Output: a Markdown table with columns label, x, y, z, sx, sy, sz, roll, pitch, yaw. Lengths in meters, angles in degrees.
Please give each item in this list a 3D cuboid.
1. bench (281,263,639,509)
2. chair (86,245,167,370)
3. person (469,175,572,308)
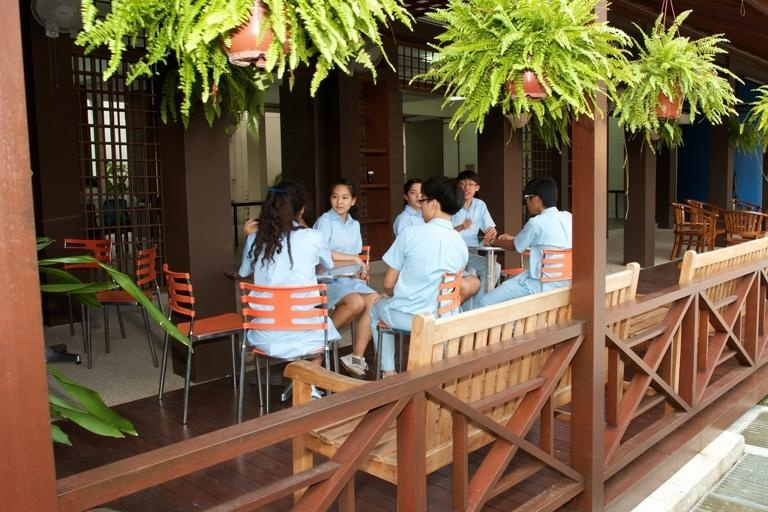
| label | x | y | z | sx | sy | sz | roll | pitch | yaw |
| --- | --- | --- | --- | --- | --- | --- | --- | --- | --- |
| bench | 0.485 | 0.733 | 3.237 | 1.913 | 1.165 | 0.746 | -9 | 14 | -29 |
| chair | -2.577 | 0.387 | 5.813 | 0.712 | 1.021 | 2.063 | -7 | 13 | -21 |
| person | 1.314 | 0.129 | 5.333 | 0.674 | 1.608 | 0.974 | 4 | -5 | -38 |
